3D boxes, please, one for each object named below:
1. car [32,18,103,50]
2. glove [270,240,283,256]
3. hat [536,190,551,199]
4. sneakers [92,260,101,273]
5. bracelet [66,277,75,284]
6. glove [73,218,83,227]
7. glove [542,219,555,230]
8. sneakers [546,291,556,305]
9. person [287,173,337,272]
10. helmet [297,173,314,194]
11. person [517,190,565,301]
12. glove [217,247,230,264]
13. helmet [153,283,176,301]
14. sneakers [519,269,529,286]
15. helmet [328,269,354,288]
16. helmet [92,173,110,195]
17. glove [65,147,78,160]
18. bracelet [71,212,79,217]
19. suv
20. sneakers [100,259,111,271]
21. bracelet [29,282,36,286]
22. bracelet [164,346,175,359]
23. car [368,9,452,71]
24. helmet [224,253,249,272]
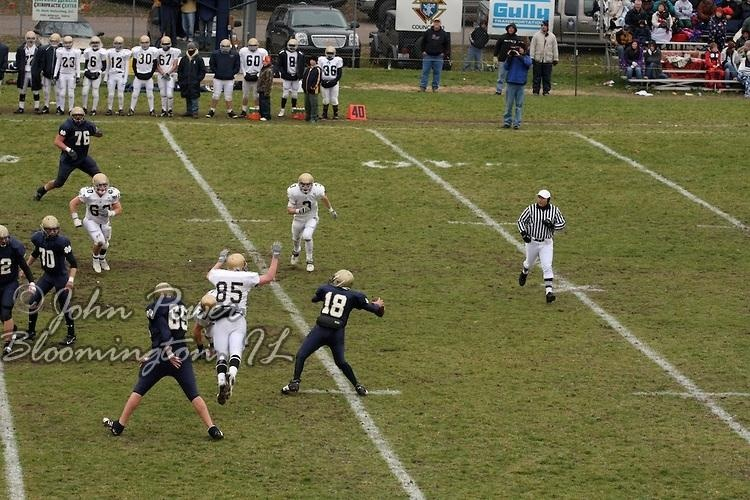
[{"bbox_3d":[-10.234,-7.359,37.999,1.708,1.028,2.663,-5,11,-32],"label":"car"},{"bbox_3d":[-1.657,-0.001,19.296,0.236,0.295,0.088,7,24,0],"label":"glove"},{"bbox_3d":[3.317,-1.065,22.267,0.231,0.145,0.306,11,3,38],"label":"hat"},{"bbox_3d":[-5.454,0.306,22.475,0.121,0.127,0.316,-12,40,-24],"label":"sneakers"},{"bbox_3d":[-5.329,0.522,20.119,0.196,0.083,0.242,-2,1,-5],"label":"bracelet"},{"bbox_3d":[-5.755,-0.517,22.285,0.222,0.099,0.252,0,7,-6],"label":"glove"},{"bbox_3d":[3.386,-0.500,22.308,0.260,0.212,0.097,-2,11,-29],"label":"glove"},{"bbox_3d":[3.421,0.915,22.307,0.112,0.125,0.299,-11,-22,-6],"label":"sneakers"},{"bbox_3d":[-1.342,-0.571,23.147,0.837,1.984,1.036,3,9,-3],"label":"person"},{"bbox_3d":[-1.346,-1.359,22.729,0.340,0.311,0.400,1,22,-7],"label":"helmet"},{"bbox_3d":[3.271,-0.140,22.838,0.852,2.156,1.466,5,9,8],"label":"person"},{"bbox_3d":[-2.705,0.105,20.611,0.113,0.300,0.131,10,-16,29],"label":"glove"},{"bbox_3d":[-3.317,0.641,17.885,0.330,0.221,0.225,7,15,30],"label":"helmet"},{"bbox_3d":[2.946,0.558,22.862,0.153,0.377,0.168,4,-15,2],"label":"sneakers"},{"bbox_3d":[-0.529,0.463,19.088,0.352,0.224,0.280,19,-19,-14],"label":"helmet"},{"bbox_3d":[-5.311,-1.272,22.280,0.280,0.381,0.313,1,9,-12],"label":"helmet"},{"bbox_3d":[-6.460,-2.072,24.511,0.106,0.154,0.257,10,-31,39],"label":"glove"},{"bbox_3d":[-5.880,-0.689,22.522,0.134,0.117,0.130,-2,-7,-3],"label":"bracelet"},{"bbox_3d":[-2.202,-7.229,38.297,2.094,1.379,3.172,-4,12,-24],"label":"suv"},{"bbox_3d":[-5.228,0.289,22.566,0.318,0.186,0.107,19,35,32],"label":"sneakers"},{"bbox_3d":[-5.833,0.571,19.570,0.084,0.069,0.070,2,-3,1],"label":"bracelet"},{"bbox_3d":[-3.166,1.597,17.763,0.074,0.177,0.184,-18,-21,-21],"label":"bracelet"},{"bbox_3d":[0.742,-7.171,39.675,2.029,1.335,2.980,-2,28,-10],"label":"car"},{"bbox_3d":[-2.375,0.197,19.176,0.468,0.318,0.364,-4,-4,3],"label":"helmet"}]
